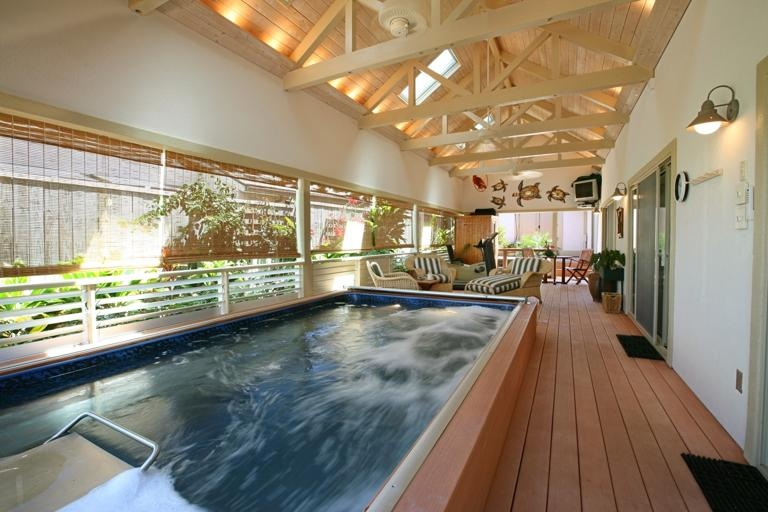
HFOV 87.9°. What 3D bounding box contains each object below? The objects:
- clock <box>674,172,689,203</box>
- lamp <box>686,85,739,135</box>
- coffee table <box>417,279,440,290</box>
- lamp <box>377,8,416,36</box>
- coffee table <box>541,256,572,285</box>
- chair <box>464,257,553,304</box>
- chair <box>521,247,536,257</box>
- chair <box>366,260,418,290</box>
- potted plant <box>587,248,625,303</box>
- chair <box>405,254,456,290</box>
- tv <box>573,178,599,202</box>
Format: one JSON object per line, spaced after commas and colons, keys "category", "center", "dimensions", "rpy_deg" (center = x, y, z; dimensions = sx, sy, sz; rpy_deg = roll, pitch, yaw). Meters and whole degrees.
{"category": "clock", "center": [3.361, -0.779, 4.504], "dimensions": [0.059, 0.348, 0.354], "rpy_deg": [-2, 0, 21]}
{"category": "lamp", "center": [3.057, -1.394, 3.780], "dimensions": [0.346, 0.448, 0.425], "rpy_deg": [-2, 1, 19]}
{"category": "coffee table", "center": [1.049, 0.668, 9.326], "dimensions": [0.481, 0.208, 0.438], "rpy_deg": [-2, 0, 8]}
{"category": "lamp", "center": [0.138, -2.441, 4.184], "dimensions": [0.386, 0.235, 0.265], "rpy_deg": [-2, 0, -1]}
{"category": "coffee table", "center": [5.150, 0.442, 11.878], "dimensions": [0.848, 0.750, 0.836], "rpy_deg": [0, -5, 15]}
{"category": "chair", "center": [2.615, 0.465, 8.095], "dimensions": [1.556, 0.644, 0.952], "rpy_deg": [-2, 0, -33]}
{"category": "chair", "center": [4.773, -0.099, 13.108], "dimensions": [0.336, 0.305, 0.389], "rpy_deg": [4, 4, -36]}
{"category": "chair", "center": [0.147, 0.387, 7.964], "dimensions": [0.799, 0.719, 0.647], "rpy_deg": [-1, 1, 0]}
{"category": "potted plant", "center": [4.541, 0.429, 8.127], "dimensions": [0.777, 1.161, 1.172], "rpy_deg": [2, 4, 17]}
{"category": "chair", "center": [1.178, 0.398, 9.865], "dimensions": [0.942, 0.729, 0.897], "rpy_deg": [0, -1, -16]}
{"category": "tv", "center": [6.409, -2.055, 12.601], "dimensions": [0.378, 0.479, 0.713], "rpy_deg": [-2, 1, -33]}
